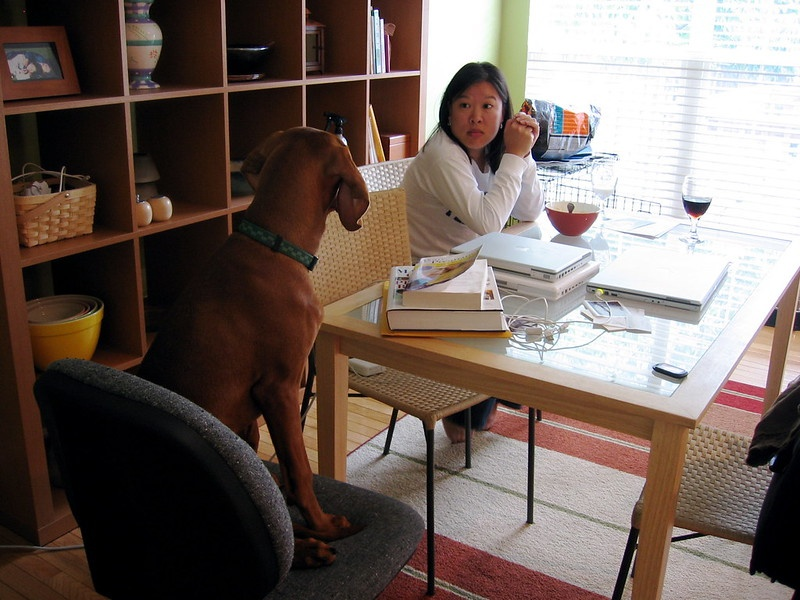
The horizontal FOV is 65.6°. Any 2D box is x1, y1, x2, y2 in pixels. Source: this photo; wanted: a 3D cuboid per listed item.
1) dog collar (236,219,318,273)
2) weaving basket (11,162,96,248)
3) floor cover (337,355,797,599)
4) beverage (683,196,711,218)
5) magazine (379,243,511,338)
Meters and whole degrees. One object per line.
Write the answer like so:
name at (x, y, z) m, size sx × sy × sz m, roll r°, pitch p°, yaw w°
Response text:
dog collar at (-0.260, -0.098, 1.284) m, size 0.118 × 0.028 × 0.111 m, roll 29°, pitch -7°, yaw -15°
weaving basket at (-1.139, -0.323, 2.008) m, size 0.186 × 0.230 × 0.252 m, roll 21°, pitch 25°, yaw 26°
floor cover at (0.535, 0.717, 2.293) m, size 0.961 × 0.248 × 0.670 m, roll 14°, pitch 25°, yaw 31°
beverage at (1.057, -0.326, 2.213) m, size 0.076 × 0.068 × 0.083 m, roll 8°, pitch 23°, yaw 9°
magazine at (0.112, -0.003, 1.547) m, size 0.251 × 0.070 × 0.244 m, roll -4°, pitch 34°, yaw 4°
